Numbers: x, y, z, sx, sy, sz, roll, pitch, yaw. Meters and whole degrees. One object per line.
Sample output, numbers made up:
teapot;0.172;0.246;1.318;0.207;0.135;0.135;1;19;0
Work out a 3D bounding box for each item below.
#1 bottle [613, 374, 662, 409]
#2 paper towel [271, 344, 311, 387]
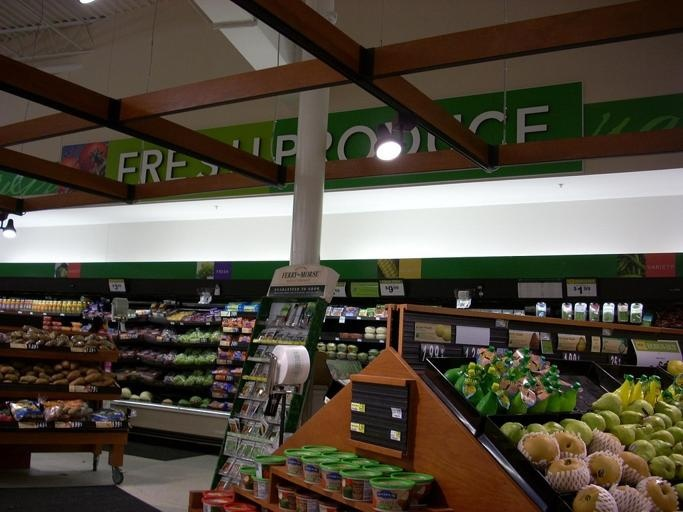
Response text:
bottle;1.612;0.739;2.687;0.129;0.322;0.150;18;-17;-11
paper towel;-0.437;0.877;4.088;0.371;0.322;0.290;7;-16;-36
